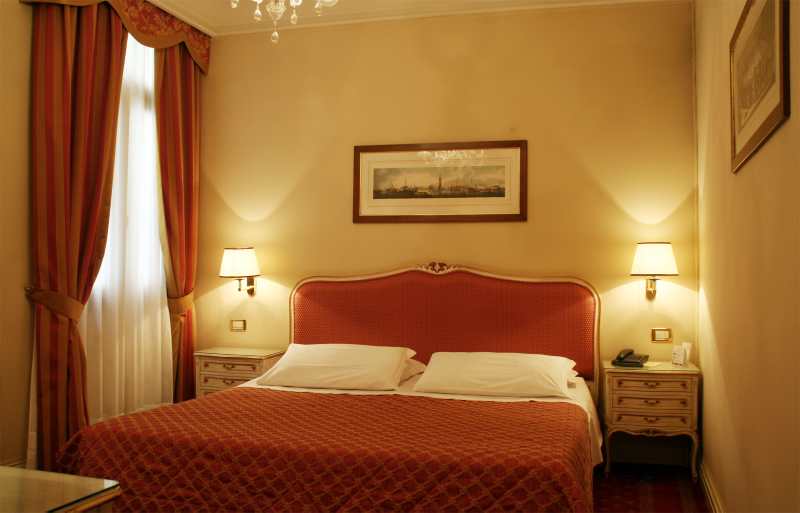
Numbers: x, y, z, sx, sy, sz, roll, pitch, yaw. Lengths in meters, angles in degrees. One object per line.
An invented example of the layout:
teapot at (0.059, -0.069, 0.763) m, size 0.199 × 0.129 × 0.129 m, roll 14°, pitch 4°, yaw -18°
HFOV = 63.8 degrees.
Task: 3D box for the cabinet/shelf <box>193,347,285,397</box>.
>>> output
cabinet/shelf at (-1.655, 1.058, 6.571) m, size 0.654 × 0.629 × 0.492 m, roll 0°, pitch -2°, yaw 12°

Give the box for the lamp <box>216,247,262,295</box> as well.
lamp at (-1.671, 0.167, 6.740) m, size 0.429 × 0.554 × 0.435 m, roll -4°, pitch 14°, yaw -19°

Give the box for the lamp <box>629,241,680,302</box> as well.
lamp at (2.368, 0.179, 5.952) m, size 0.357 × 0.468 × 0.323 m, roll -7°, pitch 6°, yaw -39°

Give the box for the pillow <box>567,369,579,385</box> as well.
pillow at (1.591, 1.115, 5.882) m, size 0.037 × 0.086 × 0.139 m, roll -2°, pitch 14°, yaw 27°

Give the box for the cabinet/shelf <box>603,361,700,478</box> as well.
cabinet/shelf at (2.328, 1.501, 5.922) m, size 0.825 × 0.955 × 0.650 m, roll -2°, pitch -10°, yaw 21°
